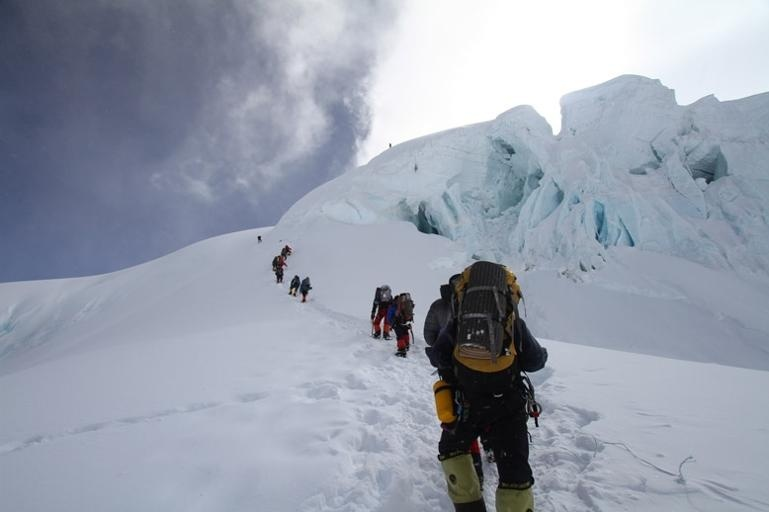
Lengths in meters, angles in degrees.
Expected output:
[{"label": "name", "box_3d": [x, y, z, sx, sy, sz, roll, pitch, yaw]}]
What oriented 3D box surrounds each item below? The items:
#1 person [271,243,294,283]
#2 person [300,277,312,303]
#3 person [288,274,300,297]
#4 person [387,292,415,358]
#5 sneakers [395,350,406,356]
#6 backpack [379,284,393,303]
[{"label": "person", "box_3d": [-6.446, 0.550, 32.226, 0.707, 1.172, 2.171, -6, 30, 2]}, {"label": "person", "box_3d": [-4.247, 1.799, 27.142, 0.470, 1.397, 2.115, 2, -6, -8]}, {"label": "person", "box_3d": [-5.011, 1.694, 28.158, 0.508, 1.069, 0.481, 27, 39, 18]}, {"label": "person", "box_3d": [0.597, 2.546, 18.825, 0.614, 2.292, 0.819, 4, -6, -36]}, {"label": "sneakers", "box_3d": [0.593, 3.519, 18.491, 0.205, 0.150, 0.276, 4, -15, -8]}, {"label": "backpack", "box_3d": [0.045, 1.460, 19.633, 0.421, 0.594, 0.596, 3, -39, -1]}]
